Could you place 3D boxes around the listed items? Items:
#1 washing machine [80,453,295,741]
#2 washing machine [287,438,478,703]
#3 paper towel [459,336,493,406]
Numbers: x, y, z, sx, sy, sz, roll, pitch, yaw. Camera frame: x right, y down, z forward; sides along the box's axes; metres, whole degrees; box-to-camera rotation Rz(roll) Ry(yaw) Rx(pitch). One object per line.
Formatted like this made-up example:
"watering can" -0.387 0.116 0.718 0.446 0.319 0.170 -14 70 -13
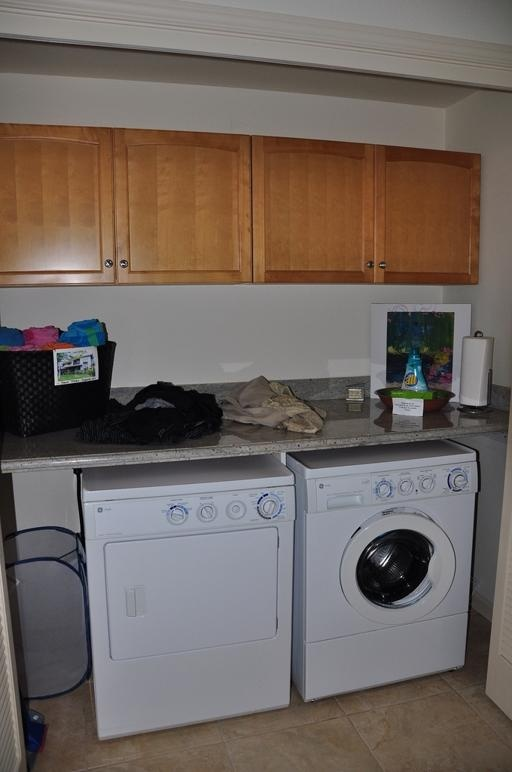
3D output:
"washing machine" -0.218 0.592 2.019 0.660 0.868 0.502 -2 17 -4
"washing machine" 0.417 0.598 2.175 0.586 0.793 0.428 -3 9 -10
"paper towel" 0.854 -0.053 2.338 0.109 0.278 0.075 4 10 22
